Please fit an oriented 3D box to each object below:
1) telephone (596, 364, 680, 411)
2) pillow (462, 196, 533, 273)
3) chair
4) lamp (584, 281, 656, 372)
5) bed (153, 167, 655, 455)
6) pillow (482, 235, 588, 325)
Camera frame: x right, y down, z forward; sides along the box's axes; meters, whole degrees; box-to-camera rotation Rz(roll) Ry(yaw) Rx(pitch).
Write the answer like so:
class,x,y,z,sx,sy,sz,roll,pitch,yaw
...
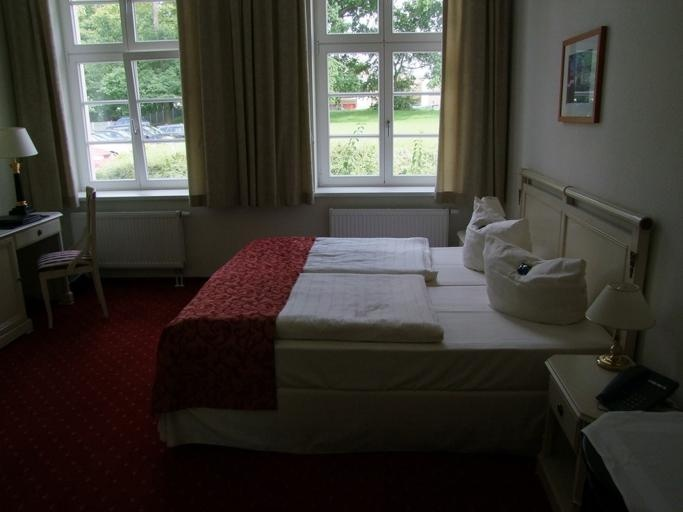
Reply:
class,x,y,z,sx,sy,sz,roll,pitch,yaw
telephone,1.295,0.598,2.245,0.309,0.112,0.179,-8,20,-18
pillow,1.188,-0.126,3.848,0.401,0.511,0.706,-12,23,-10
chair,-2.619,0.016,4.941,0.727,1.546,0.809,-2,24,-29
lamp,1.328,0.339,2.431,0.272,0.420,0.265,0,18,11
bed,0.516,0.520,3.227,1.863,0.985,1.961,0,19,5
pillow,1.176,0.118,3.136,0.372,0.443,0.665,-22,27,-31
